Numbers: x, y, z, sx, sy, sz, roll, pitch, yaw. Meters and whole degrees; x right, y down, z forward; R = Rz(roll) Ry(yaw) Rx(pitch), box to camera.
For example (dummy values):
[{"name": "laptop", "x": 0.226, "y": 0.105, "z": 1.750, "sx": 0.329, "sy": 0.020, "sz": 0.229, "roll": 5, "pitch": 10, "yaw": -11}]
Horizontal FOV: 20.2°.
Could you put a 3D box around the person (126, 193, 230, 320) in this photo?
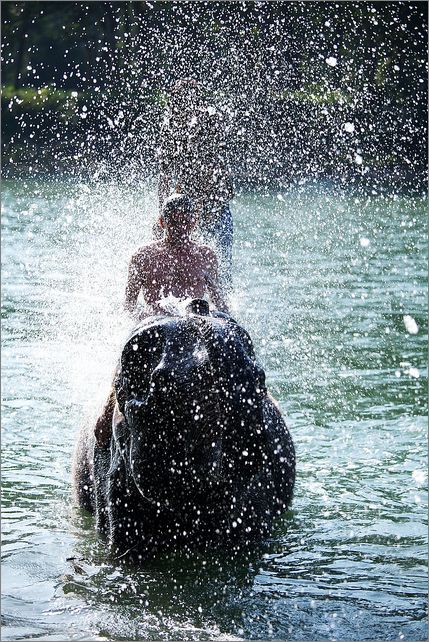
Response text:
[{"name": "person", "x": -0.174, "y": -0.211, "z": 5.787, "sx": 0.503, "sy": 0.861, "sz": 0.396, "roll": 0, "pitch": 20, "yaw": -5}]
